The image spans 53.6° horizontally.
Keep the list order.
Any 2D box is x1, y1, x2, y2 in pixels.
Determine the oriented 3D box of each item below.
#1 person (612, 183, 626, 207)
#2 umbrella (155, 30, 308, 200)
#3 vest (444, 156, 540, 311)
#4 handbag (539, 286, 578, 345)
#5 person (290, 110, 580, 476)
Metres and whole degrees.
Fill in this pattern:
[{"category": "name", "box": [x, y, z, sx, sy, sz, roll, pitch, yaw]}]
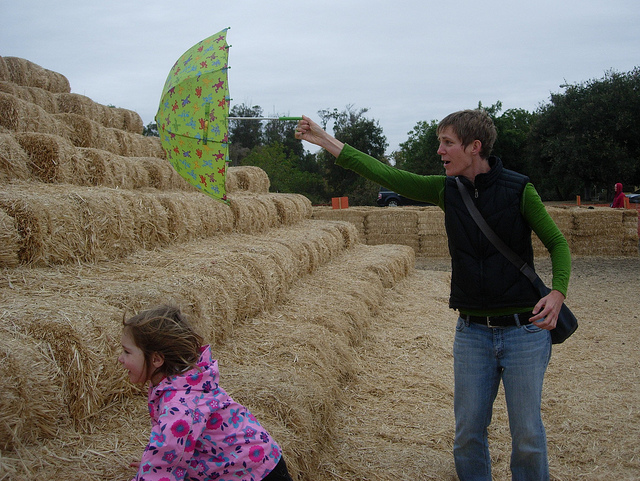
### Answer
[{"category": "person", "box": [7.397, -1.102, 15.665, 0.253, 0.540, 1.234, 2, 9, 25]}, {"category": "umbrella", "box": [-0.767, -1.036, 5.664, 1.252, 1.450, 1.343, -1, -3, -26]}, {"category": "vest", "box": [1.201, -0.066, 4.449, 0.618, 1.134, 0.523, 2, 23, 36]}, {"category": "handbag", "box": [1.669, 0.570, 4.342, 0.185, 0.296, 0.140, -2, 8, -3]}, {"category": "person", "box": [1.025, 0.351, 4.464, 1.324, 2.479, 0.536, 4, 10, 34]}]
